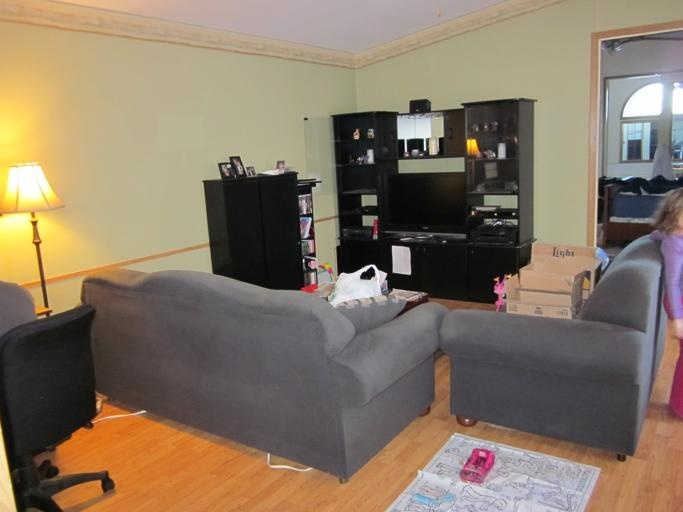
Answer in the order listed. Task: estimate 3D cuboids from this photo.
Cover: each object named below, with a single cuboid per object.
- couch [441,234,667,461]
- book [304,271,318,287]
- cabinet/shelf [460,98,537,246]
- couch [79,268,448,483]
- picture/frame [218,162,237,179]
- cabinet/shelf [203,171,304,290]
[{"bbox_3d":[1.444,0.464,3.568,1.100,1.159,1.610,3,7,31],"label":"couch"},{"bbox_3d":[-0.365,0.256,6.202,0.144,0.204,0.206,0,2,22],"label":"book"},{"bbox_3d":[1.762,-0.932,5.920,0.761,1.580,0.690,2,12,21],"label":"cabinet/shelf"},{"bbox_3d":[-0.574,0.640,3.450,2.141,1.161,0.640,3,12,23],"label":"couch"},{"bbox_3d":[-1.139,-0.860,5.267,0.054,0.190,0.210,3,7,19],"label":"picture/frame"},{"bbox_3d":[-0.909,-0.275,5.239,0.431,1.425,1.020,4,11,32],"label":"cabinet/shelf"}]
